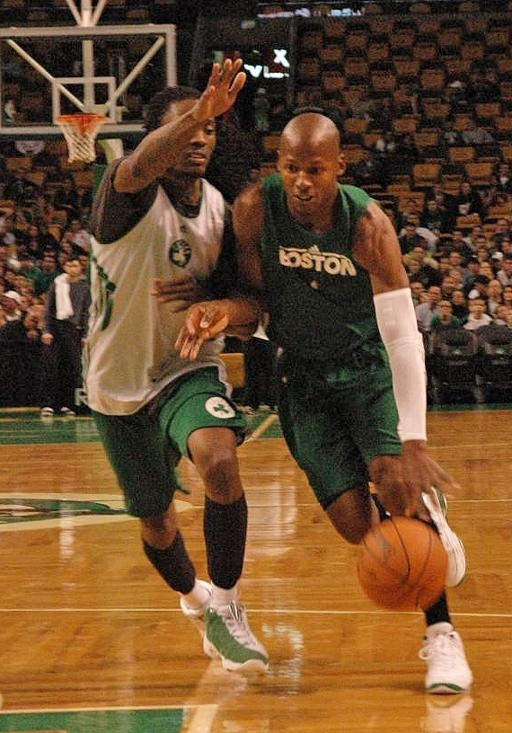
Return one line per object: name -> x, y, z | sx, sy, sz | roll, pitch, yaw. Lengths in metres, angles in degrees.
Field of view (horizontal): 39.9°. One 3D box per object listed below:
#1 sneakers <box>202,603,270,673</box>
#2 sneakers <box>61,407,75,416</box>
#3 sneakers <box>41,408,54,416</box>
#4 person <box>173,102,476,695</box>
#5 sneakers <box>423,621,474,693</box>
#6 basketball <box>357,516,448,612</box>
sneakers -> -0.055, 0.591, 1.550 | 0.093, 0.100, 0.234 | 4, -6, -26
sneakers -> -2.193, 0.529, 8.213 | 0.147, 0.087, 0.057 | 24, 19, -25
sneakers -> -2.402, 0.531, 8.132 | 0.107, 0.070, 0.126 | -15, 39, -31
person -> 0.168, 0.000, 1.646 | 0.614, 1.367, 0.557 | -1, -3, 14
sneakers -> 0.383, 0.586, 1.415 | 0.086, 0.113, 0.092 | -1, -3, 11
basketball -> 0.301, 0.390, 1.367 | 0.193, 0.193, 0.130 | 3, -4, -42
